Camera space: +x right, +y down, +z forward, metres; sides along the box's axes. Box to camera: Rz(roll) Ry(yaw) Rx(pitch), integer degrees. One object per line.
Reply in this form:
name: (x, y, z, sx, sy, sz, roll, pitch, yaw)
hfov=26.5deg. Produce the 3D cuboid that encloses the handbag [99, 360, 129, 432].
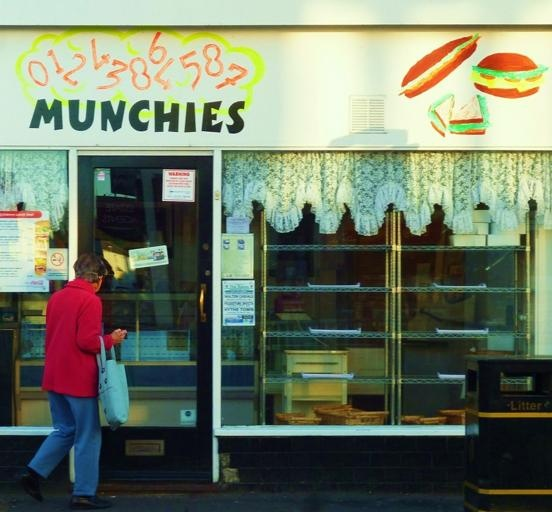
handbag: (-1.230, 1.060, 9.105, 0.284, 0.485, 0.256, 2, 9, 2)

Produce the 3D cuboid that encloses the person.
person: (-1.564, 0.946, 9.539, 1.184, 2.017, 0.538, 0, -4, 11)

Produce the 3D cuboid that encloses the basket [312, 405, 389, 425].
basket: (0.634, 1.316, 9.977, 0.487, 0.138, 0.411, 0, 2, -1)
